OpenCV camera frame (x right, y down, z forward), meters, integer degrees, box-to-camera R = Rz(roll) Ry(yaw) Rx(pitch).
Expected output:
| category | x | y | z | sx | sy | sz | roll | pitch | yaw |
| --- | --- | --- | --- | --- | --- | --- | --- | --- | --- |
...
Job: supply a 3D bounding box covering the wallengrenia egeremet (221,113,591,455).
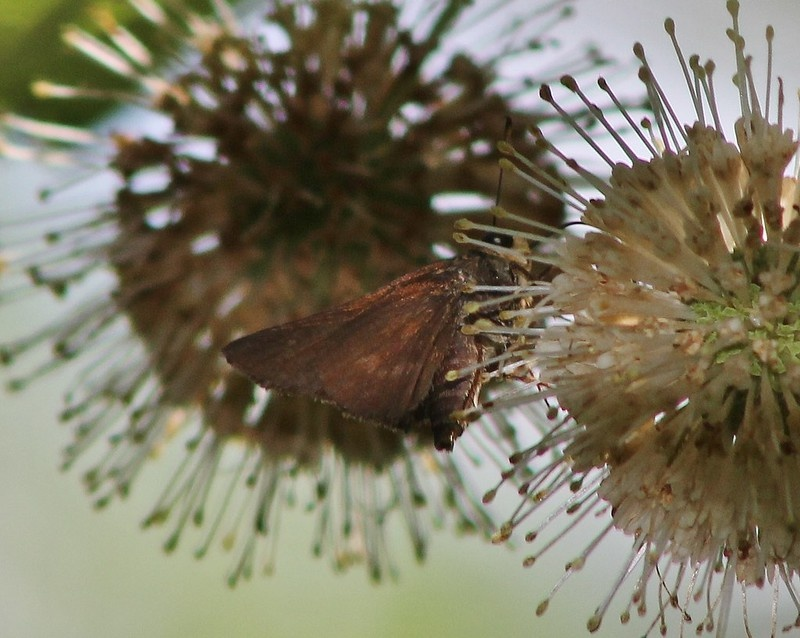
| category | x | y | z | sx | sy | sz | roll | pitch | yaw |
| --- | --- | --- | --- | --- | --- | --- | --- | --- | --- |
| wallengrenia egeremet | 0.011 | 0.045 | 1.364 | 0.318 | 0.240 | 0.210 | -25 | -72 | 11 |
